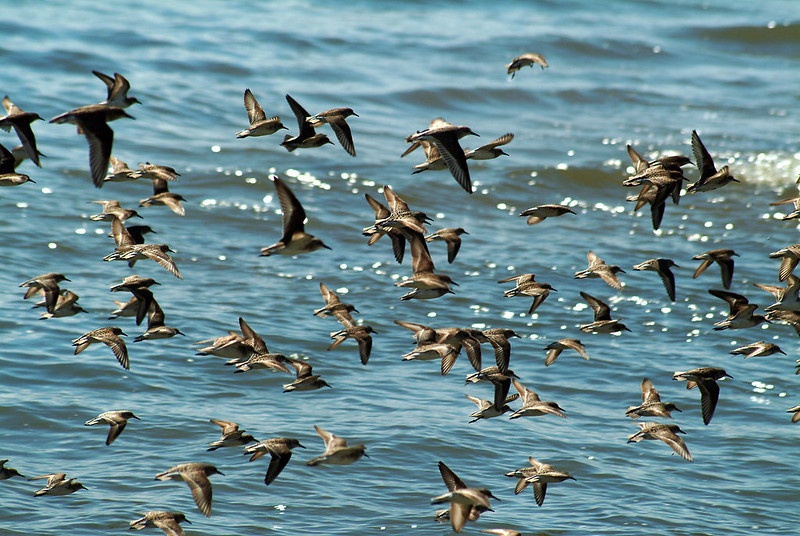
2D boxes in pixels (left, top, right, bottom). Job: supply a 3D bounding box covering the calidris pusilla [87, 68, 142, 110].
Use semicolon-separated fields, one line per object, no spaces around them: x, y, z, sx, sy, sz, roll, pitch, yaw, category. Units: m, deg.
-6.760;-4.202;29.019;0.761;1.200;1.270;-21;56;-8;calidris pusilla
